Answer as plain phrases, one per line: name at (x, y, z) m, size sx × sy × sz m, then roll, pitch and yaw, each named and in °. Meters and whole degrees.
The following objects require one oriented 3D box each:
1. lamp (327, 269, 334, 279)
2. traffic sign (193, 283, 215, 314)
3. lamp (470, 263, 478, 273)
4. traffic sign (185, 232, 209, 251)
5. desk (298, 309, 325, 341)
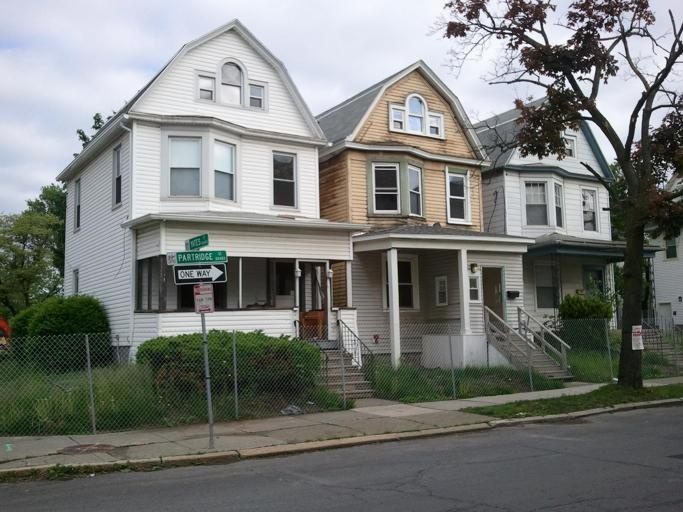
lamp at (-0.312, 0.611, 22.714) m, size 0.229 × 0.315 × 0.230 m, roll 2°, pitch -8°, yaw -8°
traffic sign at (-2.813, 0.887, 14.205) m, size 0.367 × 0.633 × 0.352 m, roll -1°, pitch -1°, yaw -13°
lamp at (4.831, 0.468, 25.329) m, size 0.242 × 0.336 × 0.124 m, roll 1°, pitch -3°, yaw 0°
traffic sign at (-3.354, -0.322, 15.974) m, size 0.518 × 0.451 × 0.089 m, roll -11°, pitch -14°, yaw 31°
desk at (-0.954, 2.231, 22.318) m, size 0.825 × 1.171 × 0.844 m, roll -1°, pitch -10°, yaw -3°
